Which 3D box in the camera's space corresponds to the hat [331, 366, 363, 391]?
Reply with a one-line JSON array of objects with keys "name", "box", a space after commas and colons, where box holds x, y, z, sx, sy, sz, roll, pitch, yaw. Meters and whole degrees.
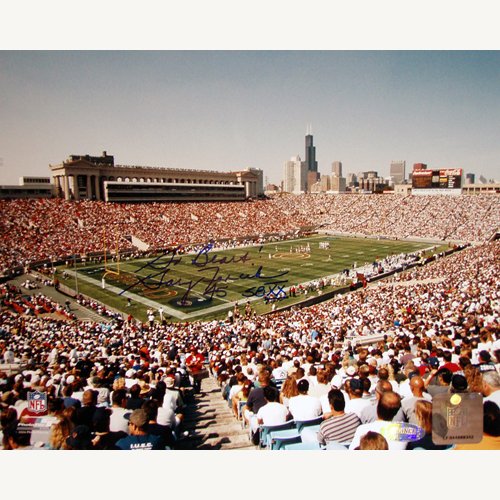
[{"name": "hat", "box": [1.527, 2.007, 5.876, 0.556, 0.236, 0.697, -2, -9, -3]}]
